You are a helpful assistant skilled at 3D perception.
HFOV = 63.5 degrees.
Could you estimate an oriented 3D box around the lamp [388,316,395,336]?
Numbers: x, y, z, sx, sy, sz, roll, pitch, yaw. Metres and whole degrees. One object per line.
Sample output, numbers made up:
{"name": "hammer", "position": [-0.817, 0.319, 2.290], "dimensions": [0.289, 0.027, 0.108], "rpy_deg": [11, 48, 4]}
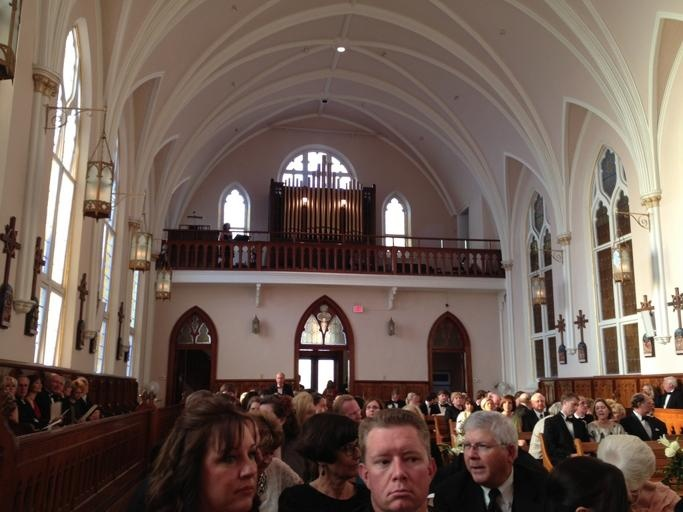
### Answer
{"name": "lamp", "position": [1.801, 2.525, 19.829], "dimensions": [0.301, 0.617, 0.195], "rpy_deg": [1, -12, -3]}

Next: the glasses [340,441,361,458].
{"name": "glasses", "position": [0.064, 1.240, 3.551], "dimensions": [0.131, 0.103, 0.186], "rpy_deg": [3, -23, -8]}

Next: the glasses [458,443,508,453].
{"name": "glasses", "position": [0.961, 1.278, 3.717], "dimensions": [0.302, 0.103, 0.150], "rpy_deg": [-5, -14, 22]}

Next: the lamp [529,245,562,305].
{"name": "lamp", "position": [6.370, 0.596, 17.141], "dimensions": [0.451, 1.913, 0.892], "rpy_deg": [0, 9, -40]}

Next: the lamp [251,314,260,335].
{"name": "lamp", "position": [-2.980, 2.358, 19.185], "dimensions": [0.335, 0.661, 0.253], "rpy_deg": [3, -12, -11]}

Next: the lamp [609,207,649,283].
{"name": "lamp", "position": [7.258, -0.294, 13.936], "dimensions": [0.801, 1.834, 1.135], "rpy_deg": [-3, -13, 13]}

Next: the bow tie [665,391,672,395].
{"name": "bow tie", "position": [6.965, 2.897, 11.741], "dimensions": [0.160, 0.043, 0.160], "rpy_deg": [-7, -3, 1]}
